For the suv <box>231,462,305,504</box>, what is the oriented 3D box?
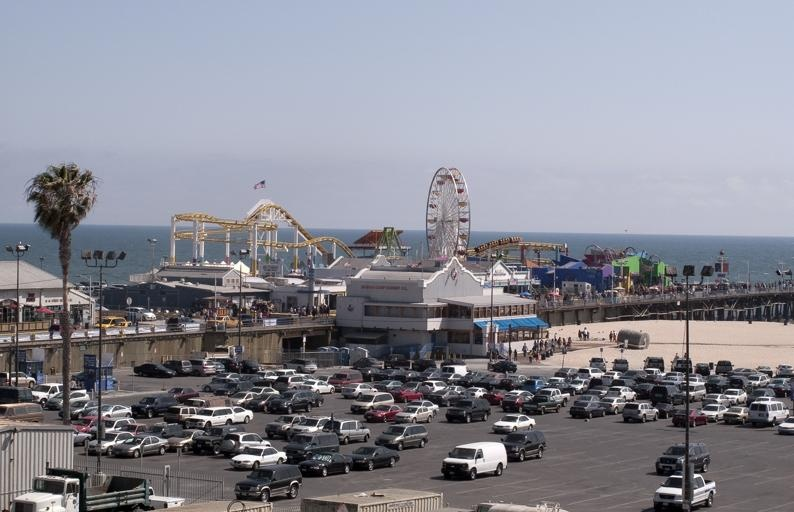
[{"bbox_3d":[-9.134,16.589,119.626,4.747,2.525,1.075,1,-7,-28],"label":"suv"}]
